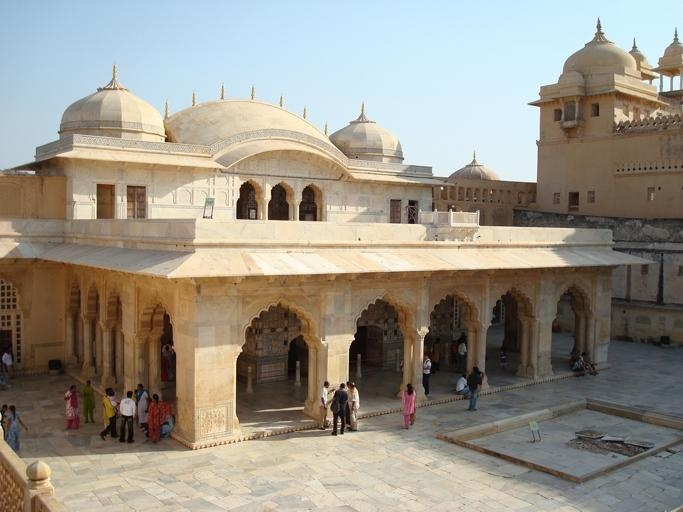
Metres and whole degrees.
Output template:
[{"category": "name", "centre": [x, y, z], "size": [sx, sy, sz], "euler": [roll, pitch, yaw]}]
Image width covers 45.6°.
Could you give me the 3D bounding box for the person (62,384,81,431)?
[{"category": "person", "centre": [-7.010, 3.837, 21.112], "size": [0.351, 1.176, 1.005], "euler": [-2, 11, -18]}]

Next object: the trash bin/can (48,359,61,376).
[{"category": "trash bin/can", "centre": [-9.317, 3.644, 26.386], "size": [0.445, 0.293, 0.421], "euler": [3, 1, 9]}]

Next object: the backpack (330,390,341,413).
[{"category": "backpack", "centre": [-0.171, 3.750, 20.853], "size": [0.171, 0.585, 0.336], "euler": [-3, 12, -24]}]

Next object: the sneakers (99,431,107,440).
[{"category": "sneakers", "centre": [-5.982, 4.515, 20.372], "size": [0.146, 0.174, 0.217], "euler": [-1, 11, -14]}]

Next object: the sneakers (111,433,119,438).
[{"category": "sneakers", "centre": [-5.717, 4.539, 20.505], "size": [0.131, 0.162, 0.112], "euler": [-2, -1, -41]}]

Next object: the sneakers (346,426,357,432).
[{"category": "sneakers", "centre": [0.265, 4.525, 21.105], "size": [0.198, 0.083, 0.136], "euler": [-3, -2, 31]}]

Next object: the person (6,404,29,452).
[{"category": "person", "centre": [-7.931, 4.091, 19.773], "size": [0.430, 1.104, 1.612], "euler": [-3, 11, -21]}]

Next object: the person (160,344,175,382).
[{"category": "person", "centre": [-5.389, 3.389, 25.258], "size": [0.361, 0.927, 0.941], "euler": [-1, 11, -11]}]

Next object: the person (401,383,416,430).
[{"category": "person", "centre": [1.802, 3.866, 21.492], "size": [0.317, 1.203, 0.909], "euler": [3, 11, 6]}]

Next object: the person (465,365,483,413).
[{"category": "person", "centre": [3.796, 3.771, 23.186], "size": [0.404, 1.084, 1.441], "euler": [4, 11, 11]}]

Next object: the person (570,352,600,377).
[{"category": "person", "centre": [8.055, 3.591, 26.805], "size": [0.965, 0.642, 0.704], "euler": [0, 11, -7]}]

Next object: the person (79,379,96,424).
[{"category": "person", "centre": [-6.749, 3.855, 21.672], "size": [0.287, 1.180, 0.953], "euler": [-2, 11, -17]}]

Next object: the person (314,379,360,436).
[{"category": "person", "centre": [-0.074, 3.902, 21.207], "size": [0.867, 1.233, 0.938], "euler": [-6, 13, -35]}]
